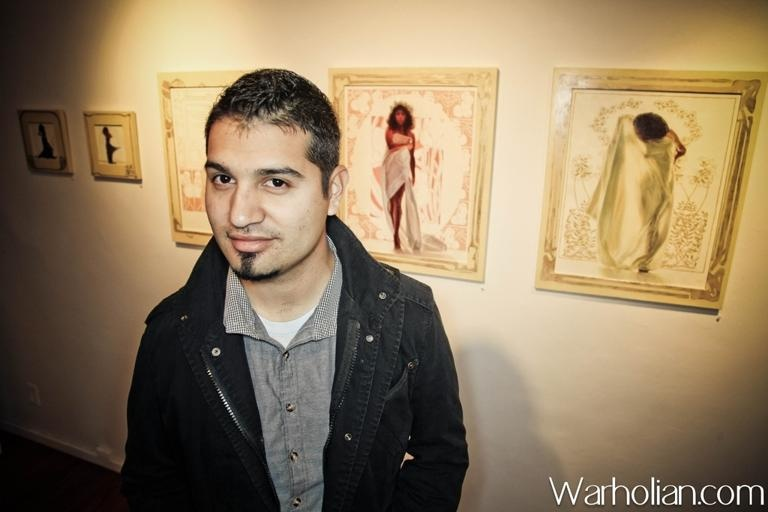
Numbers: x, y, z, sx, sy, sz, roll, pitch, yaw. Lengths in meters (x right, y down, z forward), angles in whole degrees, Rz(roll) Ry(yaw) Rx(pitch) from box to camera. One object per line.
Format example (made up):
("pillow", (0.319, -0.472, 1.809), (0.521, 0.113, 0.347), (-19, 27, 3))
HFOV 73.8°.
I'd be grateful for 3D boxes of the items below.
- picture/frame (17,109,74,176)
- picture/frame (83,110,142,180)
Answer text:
("picture/frame", (-2.460, -0.848, 3.741), (0.440, 0.493, 0.068), (8, 22, 20))
("picture/frame", (-1.878, -0.793, 3.565), (0.448, 0.457, 0.038), (9, 21, 21))
